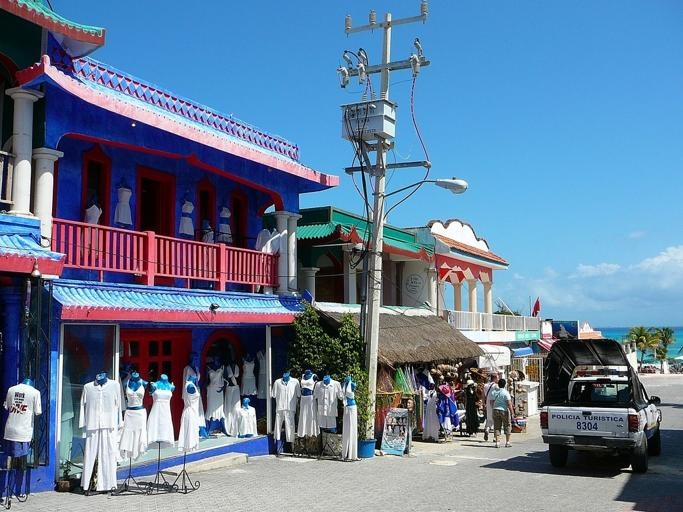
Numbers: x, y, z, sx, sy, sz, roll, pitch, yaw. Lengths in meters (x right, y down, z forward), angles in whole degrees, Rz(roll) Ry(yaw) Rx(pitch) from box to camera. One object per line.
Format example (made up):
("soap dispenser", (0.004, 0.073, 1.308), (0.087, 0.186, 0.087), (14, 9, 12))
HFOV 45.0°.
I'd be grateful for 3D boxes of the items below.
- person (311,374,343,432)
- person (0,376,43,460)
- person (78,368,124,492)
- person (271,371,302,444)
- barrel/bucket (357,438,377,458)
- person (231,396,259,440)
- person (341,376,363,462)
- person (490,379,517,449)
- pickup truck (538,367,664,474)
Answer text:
("person", (-0.369, 3.813, 21.154), (0.799, 1.447, 0.365), (3, 3, 38))
("person", (-6.364, 3.302, 16.499), (0.702, 1.582, 0.446), (0, 2, -23))
("person", (-5.041, 3.705, 17.292), (0.852, 2.406, 0.490), (0, 2, -21))
("person", (-1.469, 4.078, 21.650), (0.702, 2.055, 0.616), (1, 2, -3))
("barrel/bucket", (0.642, 4.951, 21.278), (0.376, 0.332, 0.412), (-1, -1, 0))
("person", (-2.565, 4.270, 21.565), (0.796, 1.492, 0.489), (1, 6, -3))
("person", (0.193, 4.092, 20.793), (0.399, 2.061, 0.389), (1, 2, 0))
("person", (4.512, 4.429, 23.382), (0.555, 1.952, 0.890), (2, 2, 16))
("pickup truck", (6.592, 4.053, 21.166), (2.323, 2.429, 4.653), (-3, -5, 27))
